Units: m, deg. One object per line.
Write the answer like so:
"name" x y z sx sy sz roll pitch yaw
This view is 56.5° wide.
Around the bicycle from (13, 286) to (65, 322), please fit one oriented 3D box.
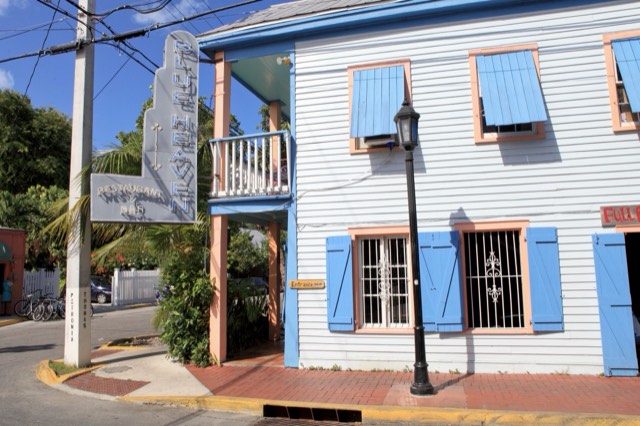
"bicycle" -11.923 3.958 24.942 2.040 1.225 1.018 2 -2 -11
